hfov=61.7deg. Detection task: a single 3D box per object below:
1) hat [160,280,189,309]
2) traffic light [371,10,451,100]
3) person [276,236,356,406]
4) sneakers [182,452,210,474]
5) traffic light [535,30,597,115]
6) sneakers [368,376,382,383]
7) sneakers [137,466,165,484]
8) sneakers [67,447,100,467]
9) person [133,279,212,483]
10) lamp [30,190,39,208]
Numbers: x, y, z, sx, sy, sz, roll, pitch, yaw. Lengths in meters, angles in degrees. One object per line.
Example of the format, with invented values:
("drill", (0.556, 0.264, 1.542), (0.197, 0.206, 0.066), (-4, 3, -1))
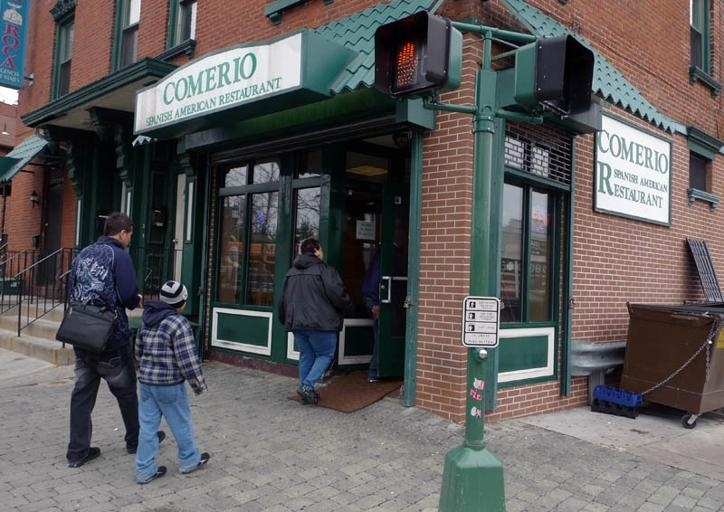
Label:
("hat", (-2.151, 0.437, 6.859), (0.236, 0.265, 0.317), (-4, -5, -16))
("traffic light", (0.497, -2.053, 6.190), (0.783, 0.846, 0.323), (4, 12, 7))
("person", (-0.713, 0.938, 8.827), (0.854, 2.261, 0.828), (-7, 15, -38))
("sneakers", (-1.910, 2.365, 6.930), (0.112, 0.152, 0.344), (8, 21, 26))
("traffic light", (2.076, -1.872, 6.303), (0.664, 0.769, 0.308), (-3, 13, -27))
("sneakers", (0.185, 1.928, 9.443), (0.071, 0.088, 0.196), (3, 4, 42))
("sneakers", (-2.340, 2.423, 6.668), (0.105, 0.136, 0.317), (12, 19, 31))
("sneakers", (-3.182, 2.317, 6.921), (0.122, 0.154, 0.346), (5, 8, 29))
("person", (-2.126, 1.393, 6.718), (0.754, 2.101, 0.557), (-1, 12, -16))
("lamp", (-8.774, -1.512, 16.203), (0.168, 0.464, 0.508), (-5, 14, -33))
